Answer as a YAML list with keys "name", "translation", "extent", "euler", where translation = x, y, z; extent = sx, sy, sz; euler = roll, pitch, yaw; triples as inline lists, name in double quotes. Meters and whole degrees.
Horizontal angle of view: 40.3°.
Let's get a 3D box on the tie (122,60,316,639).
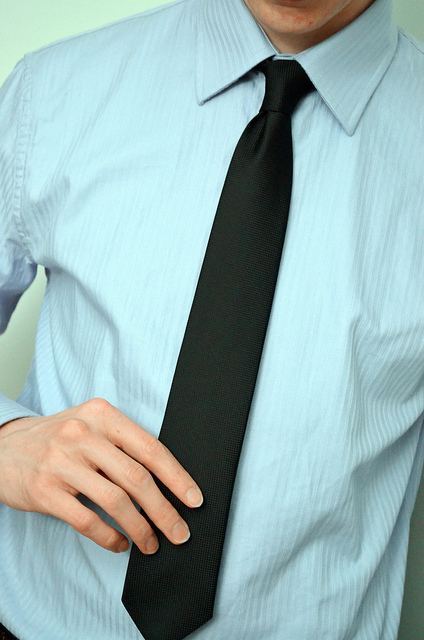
- name: "tie"
  translation: [0.016, 0.007, 0.680]
  extent: [0.116, 0.037, 0.729]
  euler: [15, 74, -3]
